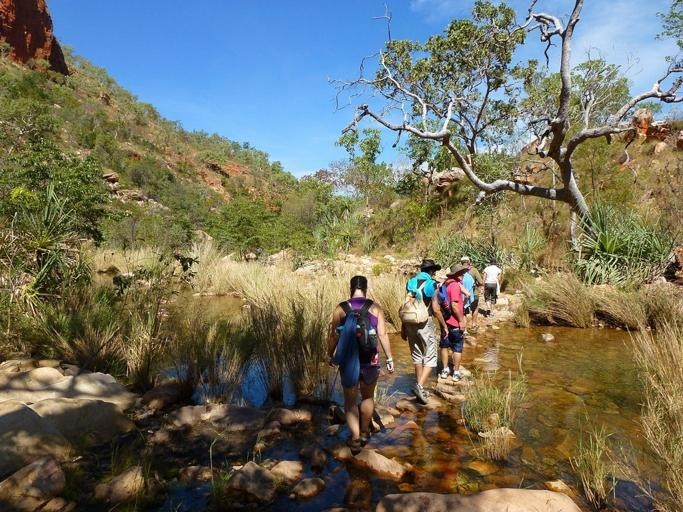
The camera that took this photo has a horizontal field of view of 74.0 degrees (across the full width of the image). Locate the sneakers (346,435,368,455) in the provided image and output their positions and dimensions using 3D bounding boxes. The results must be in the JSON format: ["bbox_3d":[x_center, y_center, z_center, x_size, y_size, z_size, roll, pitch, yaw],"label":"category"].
[{"bbox_3d":[0.269,2.693,6.456,0.356,0.272,0.125,-6,2,-33],"label":"sneakers"}]

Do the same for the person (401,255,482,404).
[{"bbox_3d":[1.623,1.215,8.127,1.490,2.266,0.710,-11,15,-42],"label":"person"}]

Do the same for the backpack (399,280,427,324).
[{"bbox_3d":[1.266,0.779,7.882,0.572,0.877,0.401,4,-3,43],"label":"backpack"}]

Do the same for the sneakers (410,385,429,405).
[{"bbox_3d":[1.341,2.312,7.643,0.242,0.414,0.177,-23,45,-14],"label":"sneakers"}]

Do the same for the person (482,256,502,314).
[{"bbox_3d":[4.400,0.847,13.329,0.436,1.618,0.867,3,12,17],"label":"person"}]
